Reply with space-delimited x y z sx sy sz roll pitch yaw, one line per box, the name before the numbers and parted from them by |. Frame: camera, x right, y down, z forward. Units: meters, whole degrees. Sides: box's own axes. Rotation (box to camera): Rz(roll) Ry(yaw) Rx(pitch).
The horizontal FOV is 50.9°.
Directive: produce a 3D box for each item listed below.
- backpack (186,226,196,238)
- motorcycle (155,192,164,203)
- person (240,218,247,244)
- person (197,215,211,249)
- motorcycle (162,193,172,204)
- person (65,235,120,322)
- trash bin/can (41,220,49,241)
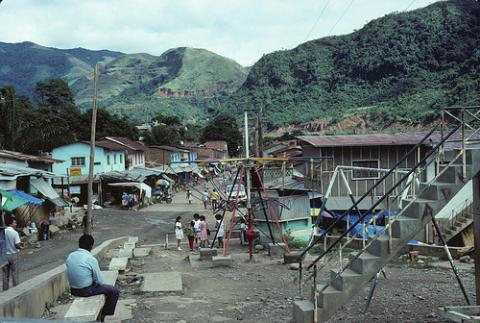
backpack | -2.602 3.709 26.642 0.394 0.548 0.563 -8 -12 40
motorcycle | -7.984 3.288 50.013 0.829 0.872 1.443 -3 3 -8
person | 0.205 3.868 28.523 0.402 1.427 1.472 -3 0 -1
person | -1.966 3.747 27.177 0.475 1.630 1.023 -3 0 -4
motorcycle | -7.117 3.651 49.816 1.087 0.681 0.631 3 -41 -17
person | -4.811 3.819 16.394 1.507 2.904 0.642 -3 1 -17
trash bin/can | -11.252 3.991 29.190 0.423 1.157 0.419 -3 1 -22
